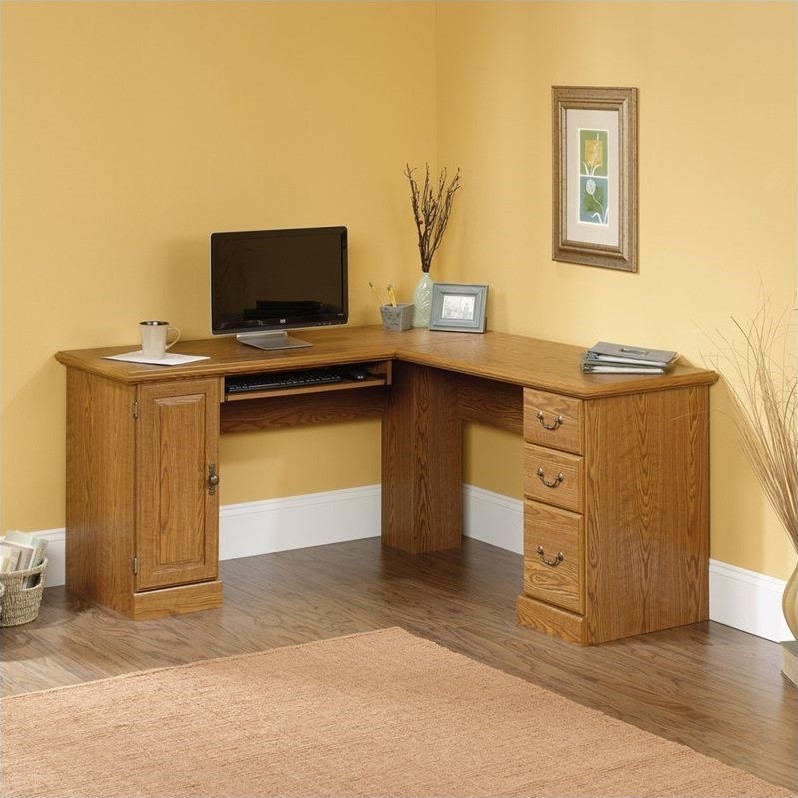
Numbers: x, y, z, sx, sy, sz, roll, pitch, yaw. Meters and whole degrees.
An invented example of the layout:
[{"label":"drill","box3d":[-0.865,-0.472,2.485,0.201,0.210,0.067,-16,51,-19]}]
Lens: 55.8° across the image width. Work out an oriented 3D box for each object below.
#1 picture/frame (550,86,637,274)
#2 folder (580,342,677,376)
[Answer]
[{"label":"picture/frame","box3d":[0.717,-0.829,2.828,0.070,0.748,0.449,-2,3,-29]},{"label":"folder","box3d":[0.757,-0.132,2.492,0.285,0.102,0.271,1,3,21]}]
